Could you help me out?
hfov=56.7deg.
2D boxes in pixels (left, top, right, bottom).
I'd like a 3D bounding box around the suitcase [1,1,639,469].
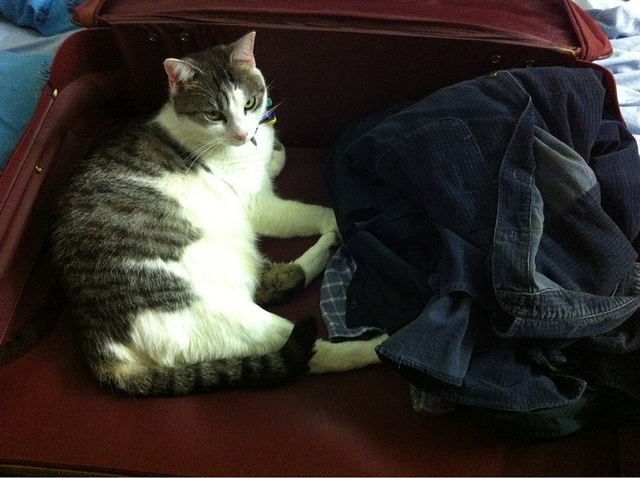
[{"bbox_3d":[-0.017,-0.072,1.789,1.824,0.585,1.402,3,57,-1],"label":"suitcase"}]
